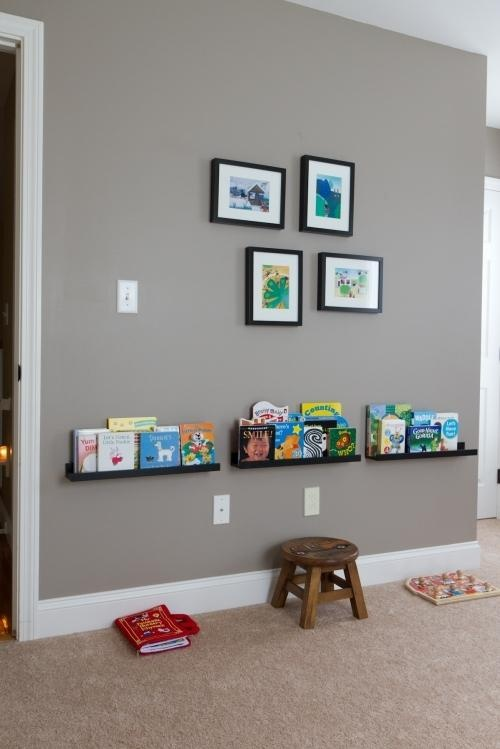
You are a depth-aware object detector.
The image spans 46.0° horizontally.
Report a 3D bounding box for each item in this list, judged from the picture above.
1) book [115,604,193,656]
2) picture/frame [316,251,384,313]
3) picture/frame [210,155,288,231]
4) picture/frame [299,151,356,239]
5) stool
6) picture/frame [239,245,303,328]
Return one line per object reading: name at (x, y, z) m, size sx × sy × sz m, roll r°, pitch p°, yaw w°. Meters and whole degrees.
book at (-0.293, 0.818, 1.914) m, size 0.237 × 0.055 × 0.278 m, roll -3°, pitch 5°, yaw -30°
picture/frame at (0.390, -0.375, 2.379) m, size 0.241 × 0.213 × 0.017 m, roll 1°, pitch 0°, yaw -28°
picture/frame at (-0.019, -0.667, 2.162) m, size 0.283 × 0.226 × 0.022 m, roll 0°, pitch 2°, yaw -28°
picture/frame at (0.293, -0.708, 2.316) m, size 0.324 × 0.410 × 0.049 m, roll -1°, pitch 5°, yaw -31°
stool at (0.240, 0.721, 2.125) m, size 0.262 × 0.232 × 0.272 m, roll 2°, pitch -5°, yaw -23°
picture/frame at (0.066, -0.335, 2.215) m, size 0.296 × 0.389 × 0.028 m, roll 0°, pitch 0°, yaw -30°
